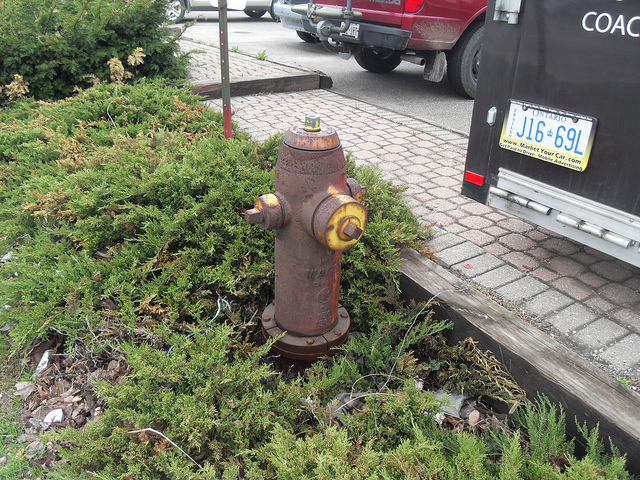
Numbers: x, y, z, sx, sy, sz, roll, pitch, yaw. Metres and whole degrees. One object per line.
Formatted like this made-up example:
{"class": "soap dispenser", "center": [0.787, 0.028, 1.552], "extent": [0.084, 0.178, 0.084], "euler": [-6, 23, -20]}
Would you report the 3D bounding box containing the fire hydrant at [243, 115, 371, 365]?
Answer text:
{"class": "fire hydrant", "center": [-0.087, 0.084, 2.940], "extent": [0.741, 1.620, 0.657], "euler": [2, 30, 3]}
